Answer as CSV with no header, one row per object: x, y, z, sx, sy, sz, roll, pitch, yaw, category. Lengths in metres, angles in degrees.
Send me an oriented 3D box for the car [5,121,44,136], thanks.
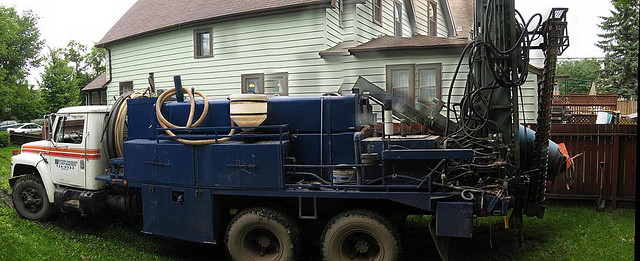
-21.228,-0.120,32.089,2.621,0.653,1.100,5,5,32,car

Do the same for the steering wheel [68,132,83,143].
-10.181,0.272,18.527,0.704,0.447,0.141,-1,-4,26,steering wheel
